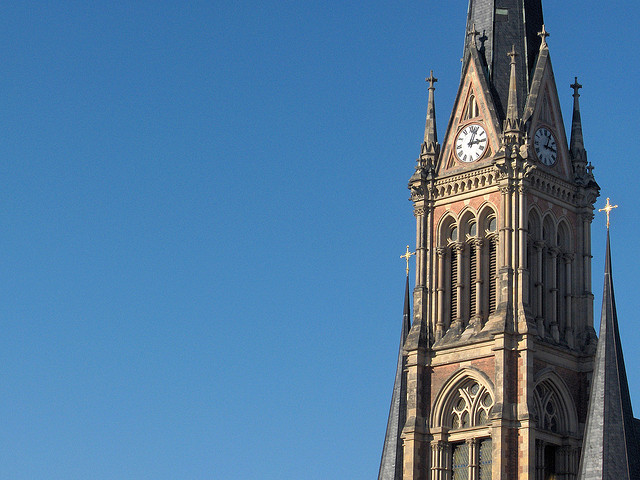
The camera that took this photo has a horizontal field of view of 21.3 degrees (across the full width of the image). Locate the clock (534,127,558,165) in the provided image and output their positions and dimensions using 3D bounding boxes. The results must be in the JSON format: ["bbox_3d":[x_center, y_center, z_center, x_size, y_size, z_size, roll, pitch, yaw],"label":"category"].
[{"bbox_3d":[13.013,-5.430,98.498,0.184,2.342,2.273,-7,2,-31],"label":"clock"}]
